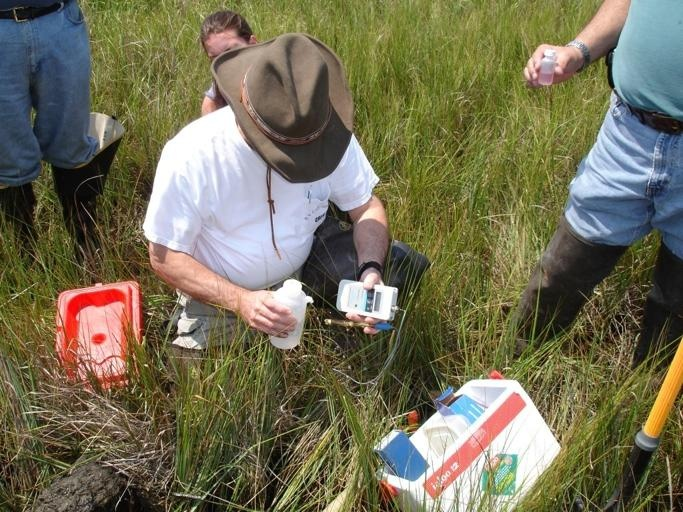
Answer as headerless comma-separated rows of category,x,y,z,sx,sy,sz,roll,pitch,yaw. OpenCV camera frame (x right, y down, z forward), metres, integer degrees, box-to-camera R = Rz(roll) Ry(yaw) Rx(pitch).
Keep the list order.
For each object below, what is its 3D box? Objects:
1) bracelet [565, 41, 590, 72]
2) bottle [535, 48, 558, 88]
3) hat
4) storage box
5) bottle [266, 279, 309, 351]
bracelet,1.199,-1.037,3.532,0.046,0.139,0.144,-24,30,2
bottle,1.041,-0.965,3.469,0.073,0.165,0.076,-3,42,2
hat,-0.272,-0.695,3.158,0.570,0.280,0.830,-21,88,-28
storage box,-1.159,0.343,3.267,0.403,0.372,0.611,-7,41,-19
bottle,-0.256,0.287,3.206,0.205,0.382,0.208,4,39,-3
